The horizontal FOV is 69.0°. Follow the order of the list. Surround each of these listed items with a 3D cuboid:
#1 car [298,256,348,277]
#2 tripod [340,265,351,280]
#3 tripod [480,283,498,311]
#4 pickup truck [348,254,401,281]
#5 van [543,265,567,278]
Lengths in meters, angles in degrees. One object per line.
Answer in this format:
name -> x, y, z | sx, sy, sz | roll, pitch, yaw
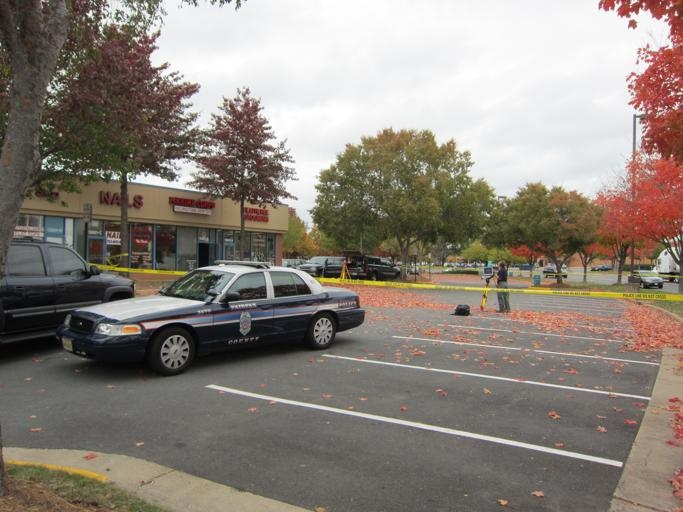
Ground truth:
car -> -1.303, 0.657, 34.999 | 1.568, 1.071, 2.836 | -4, -8, 43
tripod -> 0.232, 1.050, 31.893 | 0.594, 1.268, 0.591 | 6, 14, 24
tripod -> 6.545, 1.832, 22.178 | 0.202, 0.904, 0.866 | 14, 7, 31
pickup truck -> 2.120, 0.800, 34.667 | 1.564, 1.399, 3.480 | 0, 2, 43
van -> 21.588, 1.534, 50.490 | 1.451, 1.302, 3.213 | -4, -8, 32
